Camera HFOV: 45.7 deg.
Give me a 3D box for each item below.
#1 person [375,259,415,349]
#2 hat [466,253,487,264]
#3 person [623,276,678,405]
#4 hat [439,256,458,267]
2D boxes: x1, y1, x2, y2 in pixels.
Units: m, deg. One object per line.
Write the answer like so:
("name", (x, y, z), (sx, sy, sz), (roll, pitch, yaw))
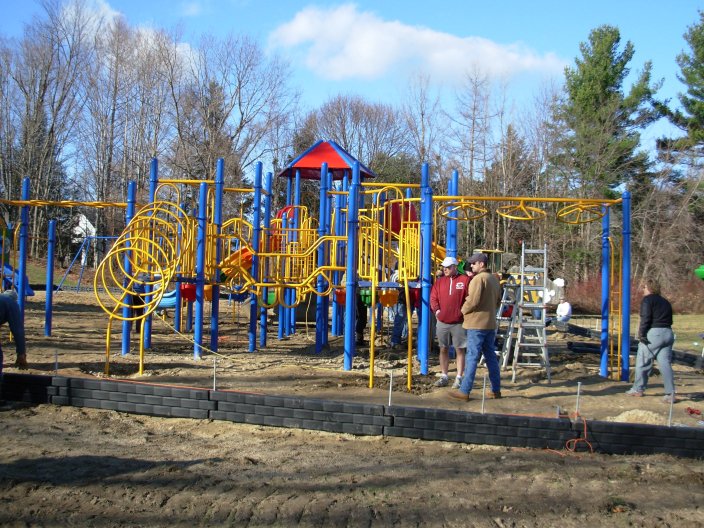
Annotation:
("person", (0.670, 0.837, 17.068), (0.600, 1.908, 0.702), (-2, -2, -40))
("hat", (1.897, -0.093, 12.803), (0.225, 0.132, 0.167), (3, 1, 19))
("person", (4.631, 1.177, 12.999), (0.644, 1.837, 0.658), (0, -3, 18))
("hat", (1.546, -0.049, 13.313), (0.169, 0.123, 0.237), (-1, -7, 34))
